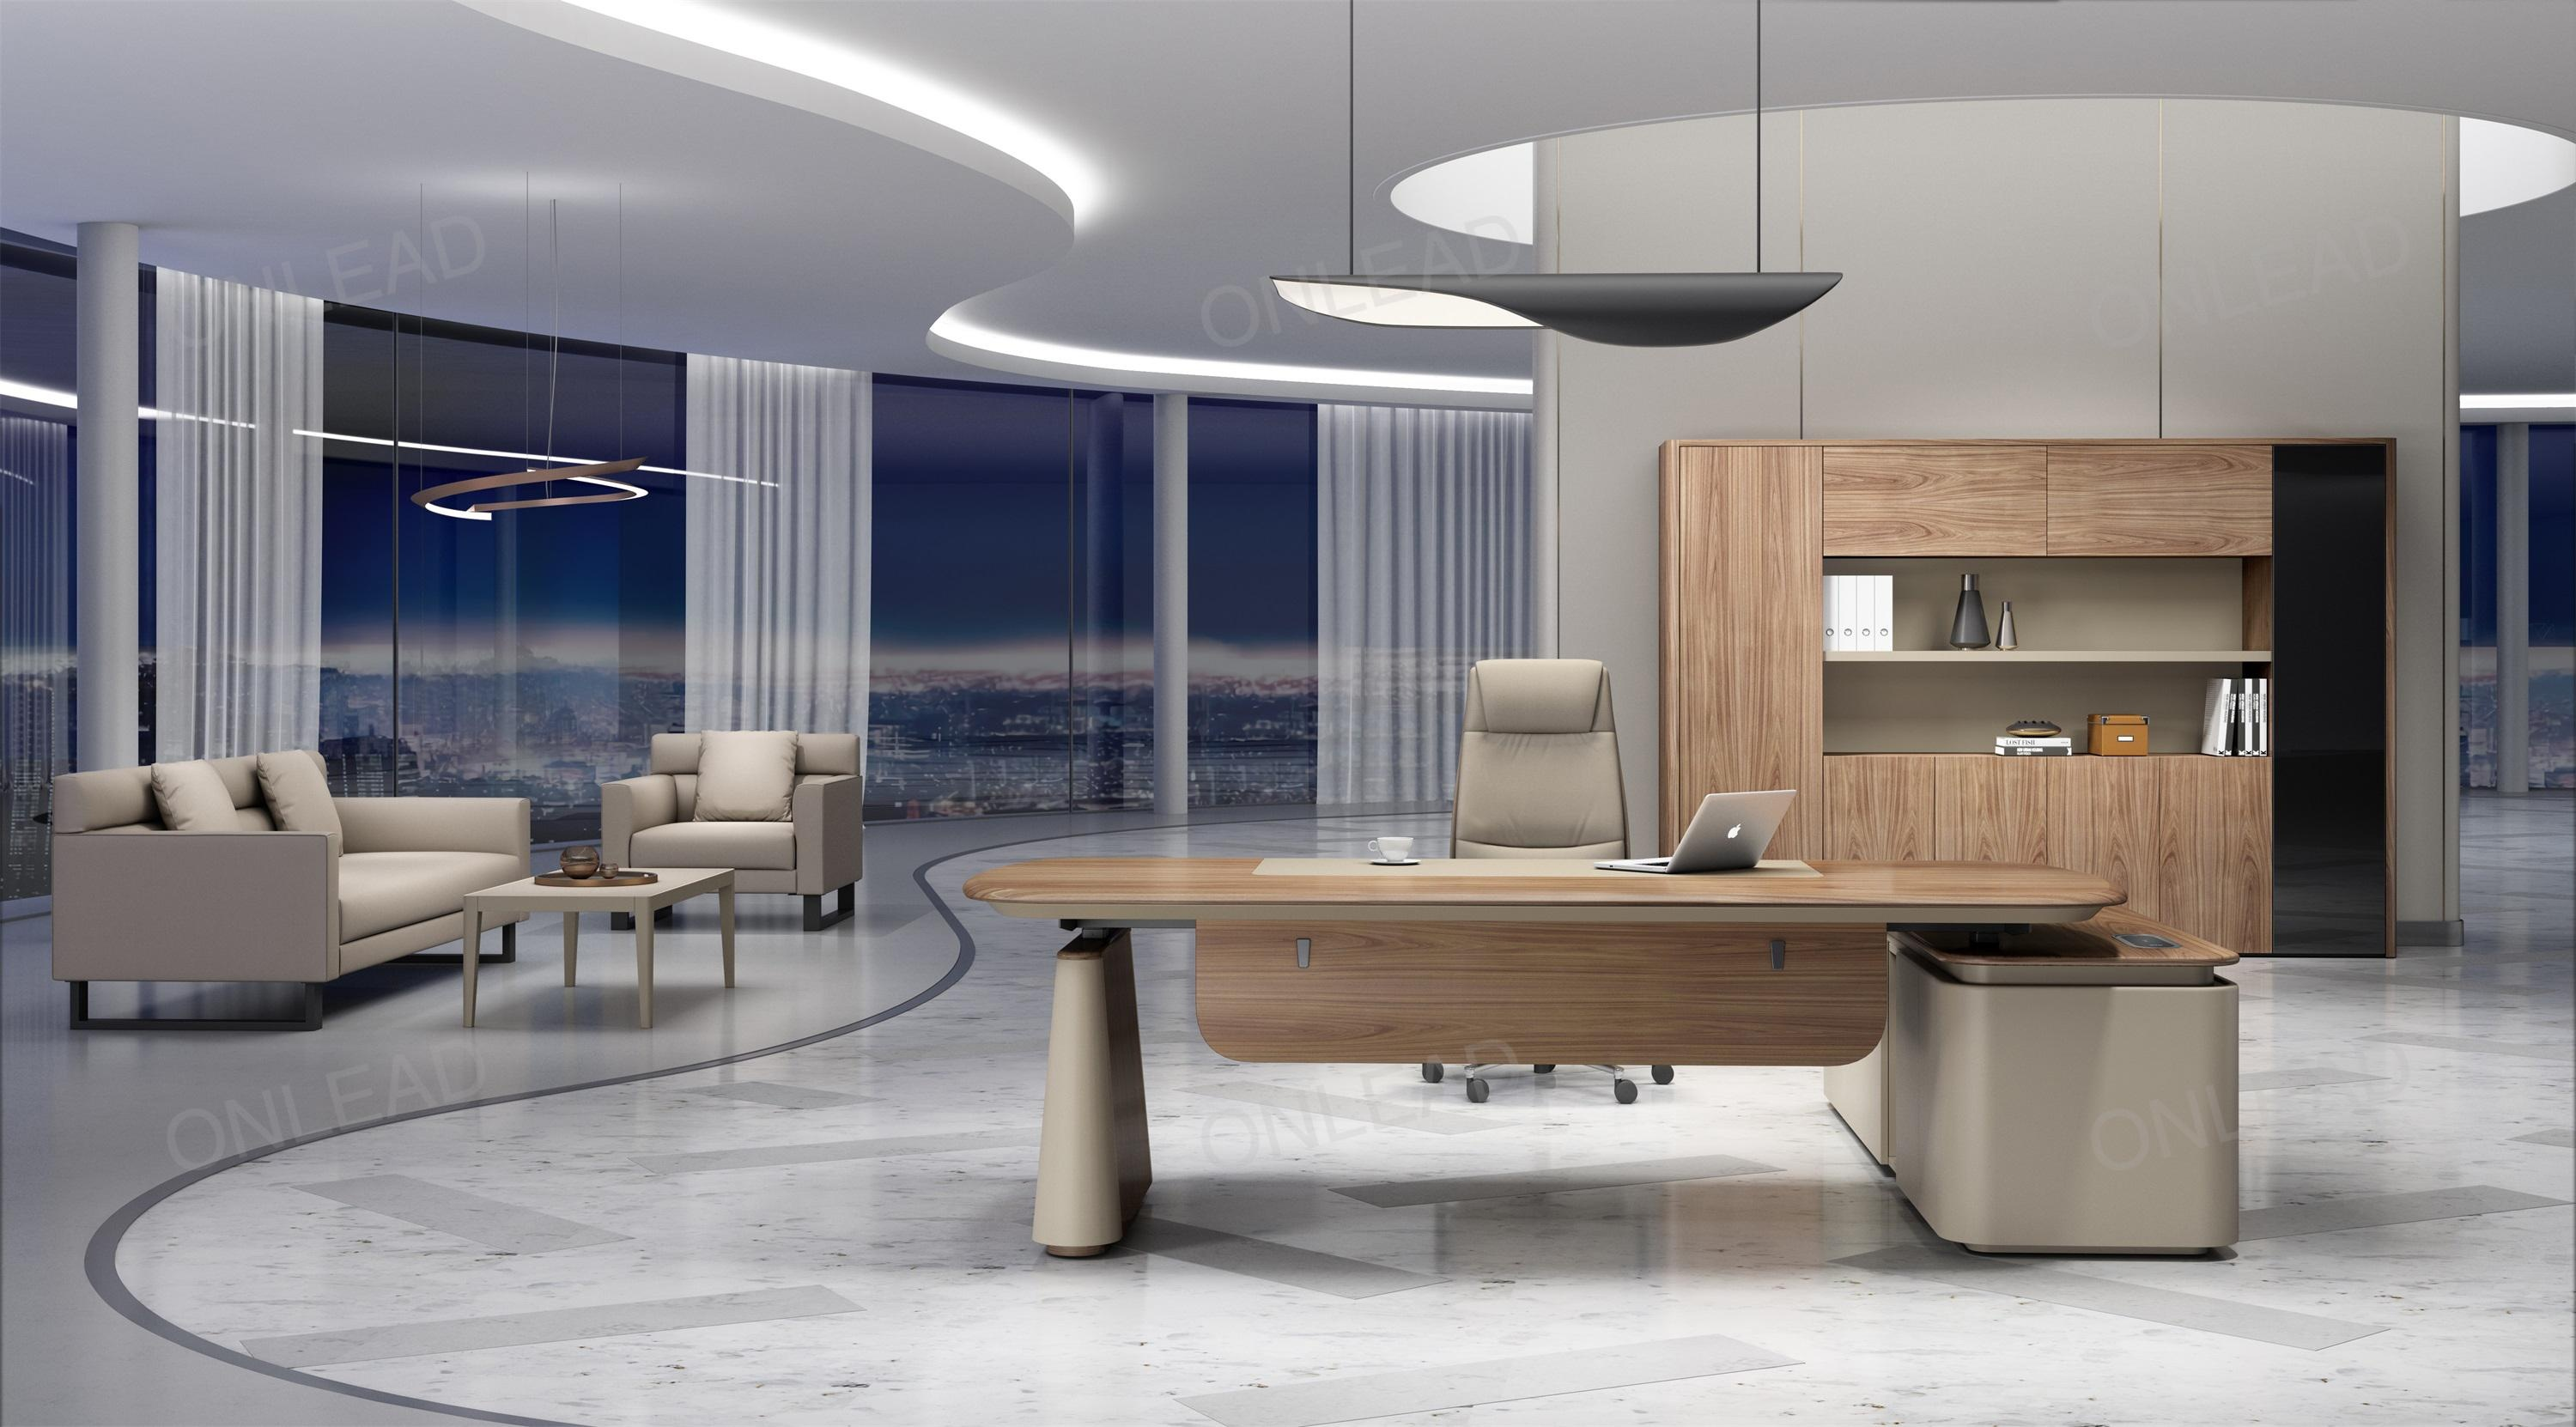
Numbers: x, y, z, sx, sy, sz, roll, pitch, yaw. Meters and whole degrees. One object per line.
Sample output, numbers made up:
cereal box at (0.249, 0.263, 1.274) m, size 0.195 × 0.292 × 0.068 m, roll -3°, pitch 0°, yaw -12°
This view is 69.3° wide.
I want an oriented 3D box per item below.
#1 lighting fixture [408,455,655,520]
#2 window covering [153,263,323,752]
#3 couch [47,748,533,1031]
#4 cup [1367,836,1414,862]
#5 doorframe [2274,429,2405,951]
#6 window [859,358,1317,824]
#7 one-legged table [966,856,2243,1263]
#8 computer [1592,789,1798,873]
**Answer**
lighting fixture at (-5.860, -1.724, 14.511) m, size 1.552 × 0.418 × 3.189 m, roll -1°, pitch 1°, yaw -20°
window covering at (-7.589, -1.435, 13.471) m, size 0.187 × 3.423 × 1.251 m, roll -1°, pitch 2°, yaw 35°
couch at (-5.979, 0.915, 11.411) m, size 1.787 × 1.065 × 2.939 m, roll 11°, pitch 1°, yaw -5°
cup at (0.494, 0.616, 8.415) m, size 0.206 × 0.055 × 0.168 m, roll -1°, pitch -2°, yaw 2°
doorframe at (6.410, -0.168, 11.415) m, size 0.739 × 2.958 × 0.114 m, roll -2°, pitch 2°, yaw -6°
window at (-1.885, -1.020, 18.856) m, size 6.691 × 4.506 × 0.234 m, roll 3°, pitch 8°, yaw 39°
one-legged table at (1.031, 1.357, 7.875) m, size 5.036 × 1.146 × 1.665 m, roll -6°, pitch -15°, yaw 35°
computer at (1.845, 0.494, 8.171) m, size 0.638 × 0.234 × 0.570 m, roll 2°, pitch 0°, yaw -39°
